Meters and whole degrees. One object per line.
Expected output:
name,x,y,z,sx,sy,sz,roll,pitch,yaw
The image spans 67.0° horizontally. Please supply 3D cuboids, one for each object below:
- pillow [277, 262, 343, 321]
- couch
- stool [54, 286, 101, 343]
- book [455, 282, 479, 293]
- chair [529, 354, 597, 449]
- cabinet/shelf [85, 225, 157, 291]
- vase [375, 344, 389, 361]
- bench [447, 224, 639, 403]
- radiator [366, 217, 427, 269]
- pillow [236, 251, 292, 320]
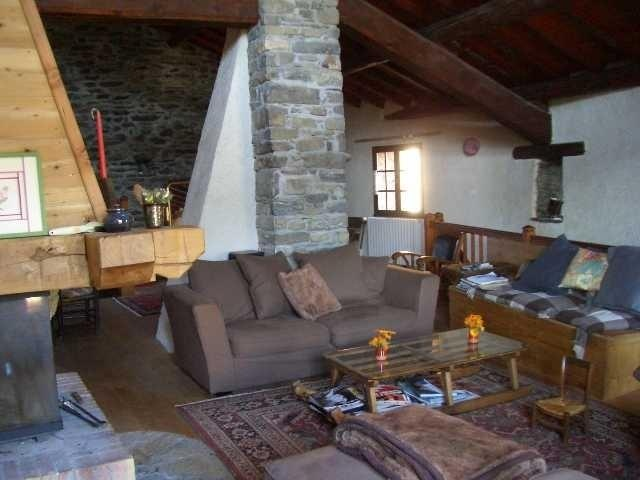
pillow,-0.138,0.445,4.443,0.736,0.656,0.180,10,-41,-44
couch,-0.139,0.660,4.478,2.347,0.952,0.968,-2,10,-30
stool,-2.826,0.748,5.632,0.457,0.623,0.429,2,-1,-33
book,1.465,0.475,4.836,0.131,0.034,0.127,-5,10,-40
chair,1.576,0.998,3.208,0.353,0.517,0.434,2,11,22
cabinet/shelf,-0.858,0.093,2.039,0.175,0.211,0.285,-10,0,27
vase,0.438,0.805,3.492,0.113,0.104,0.111,-5,9,-28
bench,1.941,0.654,4.176,0.544,0.656,1.509,-2,8,-24
radiator,1.269,0.026,8.258,0.107,0.769,1.362,-7,8,-33
pillow,-0.528,0.430,4.376,0.643,0.510,0.182,-4,-22,-35
